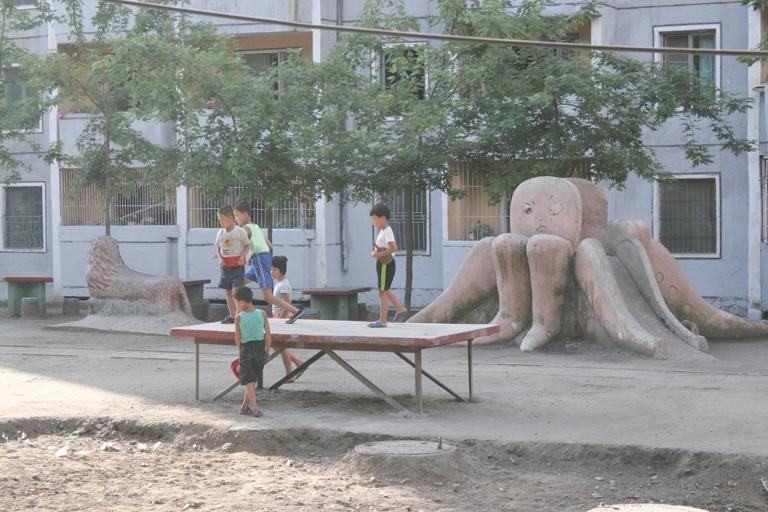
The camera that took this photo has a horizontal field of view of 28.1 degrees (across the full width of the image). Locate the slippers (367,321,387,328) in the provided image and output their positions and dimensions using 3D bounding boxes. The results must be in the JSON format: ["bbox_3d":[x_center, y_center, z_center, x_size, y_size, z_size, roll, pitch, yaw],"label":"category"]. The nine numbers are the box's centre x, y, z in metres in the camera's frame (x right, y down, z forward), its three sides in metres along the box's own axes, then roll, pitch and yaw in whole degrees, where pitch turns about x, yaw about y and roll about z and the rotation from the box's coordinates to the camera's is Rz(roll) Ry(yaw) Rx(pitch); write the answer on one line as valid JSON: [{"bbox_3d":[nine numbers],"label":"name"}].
[{"bbox_3d":[-0.163,1.329,29.839,0.377,0.140,0.139,1,-4,6],"label":"slippers"}]

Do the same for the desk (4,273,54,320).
[{"bbox_3d":[-9.573,1.069,41.283,1.112,0.947,1.102,2,-5,-32],"label":"desk"}]

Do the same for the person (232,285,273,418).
[{"bbox_3d":[-2.478,1.781,28.817,0.648,2.420,0.383,-2,3,-5],"label":"person"}]

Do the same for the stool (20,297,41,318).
[{"bbox_3d":[-9.437,1.389,40.822,0.677,0.490,0.491,2,0,0],"label":"stool"}]

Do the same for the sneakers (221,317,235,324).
[{"bbox_3d":[-3.081,1.264,30.243,0.331,0.131,0.117,2,-4,-29],"label":"sneakers"}]

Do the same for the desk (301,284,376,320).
[{"bbox_3d":[-1.252,1.401,38.406,1.518,1.176,1.573,5,7,41],"label":"desk"}]

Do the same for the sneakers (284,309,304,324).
[{"bbox_3d":[-1.794,1.184,30.326,0.440,0.158,0.150,-45,-4,-44],"label":"sneakers"}]
